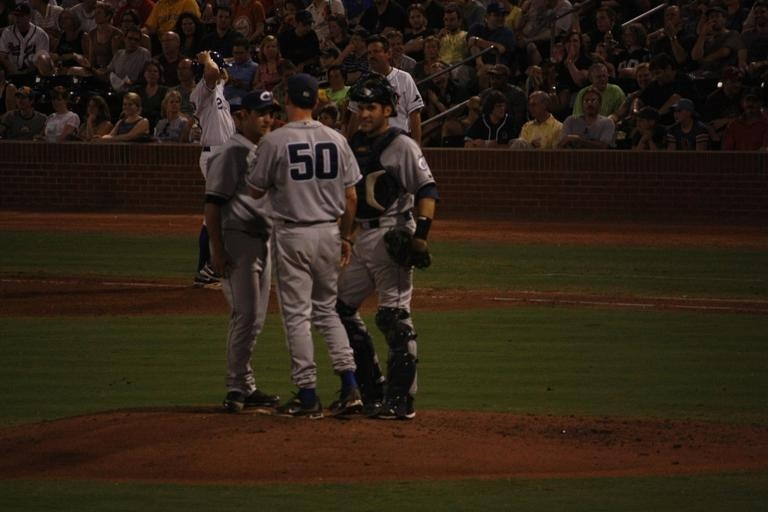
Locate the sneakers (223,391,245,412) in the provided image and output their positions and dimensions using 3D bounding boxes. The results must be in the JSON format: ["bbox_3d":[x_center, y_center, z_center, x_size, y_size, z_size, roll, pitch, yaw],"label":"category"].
[{"bbox_3d":[-1.649,1.626,15.441,0.158,0.189,0.291,0,8,-12],"label":"sneakers"}]

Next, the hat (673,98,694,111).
[{"bbox_3d":[5.040,-2.498,23.448,0.328,0.261,0.559,2,14,11],"label":"hat"}]

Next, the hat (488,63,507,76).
[{"bbox_3d":[2.021,-3.251,24.577,0.310,0.132,0.219,8,-2,-38],"label":"hat"}]

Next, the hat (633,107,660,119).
[{"bbox_3d":[4.516,-2.410,23.772,0.294,0.114,0.198,3,2,-4],"label":"hat"}]

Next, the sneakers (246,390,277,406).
[{"bbox_3d":[-1.376,1.605,15.619,0.378,0.146,0.148,-4,18,-8],"label":"sneakers"}]

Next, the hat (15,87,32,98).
[{"bbox_3d":[-6.697,-3.038,25.992,0.237,0.145,0.303,2,-3,12],"label":"hat"}]

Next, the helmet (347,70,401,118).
[{"bbox_3d":[-0.107,-1.772,15.564,0.499,0.399,0.558,3,12,12],"label":"helmet"}]

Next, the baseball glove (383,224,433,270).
[{"bbox_3d":[0.254,-0.061,15.296,0.492,0.404,0.231,-1,15,-1],"label":"baseball glove"}]
